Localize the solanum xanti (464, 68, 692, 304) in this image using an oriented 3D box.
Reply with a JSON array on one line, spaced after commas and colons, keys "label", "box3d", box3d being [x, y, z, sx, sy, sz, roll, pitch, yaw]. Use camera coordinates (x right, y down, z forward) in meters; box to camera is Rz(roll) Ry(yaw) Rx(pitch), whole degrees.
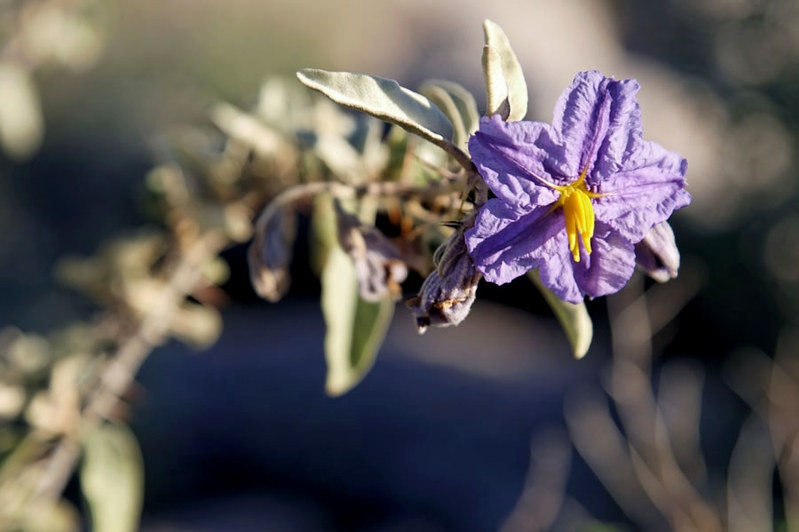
[{"label": "solanum xanti", "box3d": [0.382, -0.173, 2.458, 0.483, 0.302, 0.389, 8, 57, 0]}]
